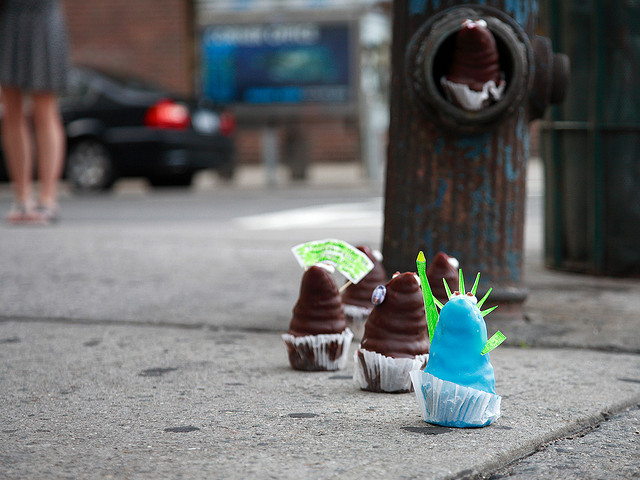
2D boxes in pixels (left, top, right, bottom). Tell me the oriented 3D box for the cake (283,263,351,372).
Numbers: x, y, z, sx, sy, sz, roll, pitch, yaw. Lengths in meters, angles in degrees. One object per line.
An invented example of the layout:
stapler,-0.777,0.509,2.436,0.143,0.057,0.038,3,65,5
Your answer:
cake,0.010,0.362,5.560,0.283,0.509,0.467,-5,12,0

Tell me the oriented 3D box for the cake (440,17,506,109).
cake,0.763,-0.887,5.903,0.314,0.456,0.217,3,4,15

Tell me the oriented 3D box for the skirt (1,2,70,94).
skirt,-1.316,-0.898,5.546,0.412,0.497,0.051,1,2,29

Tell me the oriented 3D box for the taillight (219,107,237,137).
taillight,-0.406,-0.529,5.347,0.093,0.119,0.096,-1,17,0
